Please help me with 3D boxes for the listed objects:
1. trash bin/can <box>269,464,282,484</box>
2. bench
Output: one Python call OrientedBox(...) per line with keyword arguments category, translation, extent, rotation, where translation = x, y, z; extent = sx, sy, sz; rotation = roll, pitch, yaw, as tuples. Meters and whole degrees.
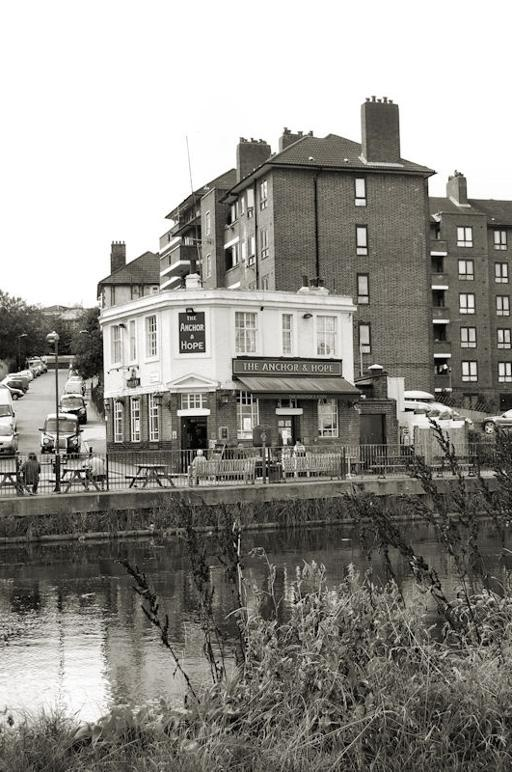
OrientedBox(category="trash bin/can", translation=(0.516, 2.342, 31.291), extent=(0.332, 0.642, 0.387), rotation=(0, 3, -15))
OrientedBox(category="bench", translation=(0.337, 2.221, 31.330), extent=(4.836, 0.831, 0.600), rotation=(2, -7, -32))
